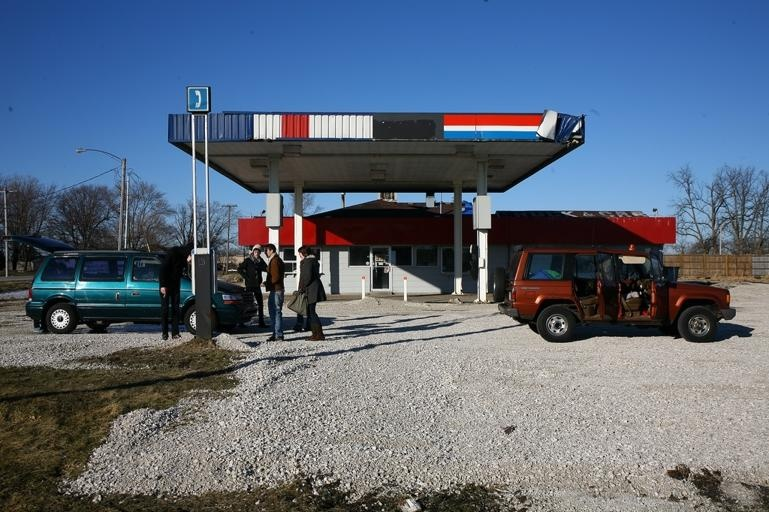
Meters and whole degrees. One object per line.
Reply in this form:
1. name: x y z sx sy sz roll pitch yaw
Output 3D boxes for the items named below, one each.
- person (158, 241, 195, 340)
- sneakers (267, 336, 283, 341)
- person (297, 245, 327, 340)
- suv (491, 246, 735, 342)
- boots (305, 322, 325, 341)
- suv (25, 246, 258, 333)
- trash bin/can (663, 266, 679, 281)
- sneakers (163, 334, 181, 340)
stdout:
1. person: -4.608 0.749 12.821 0.692 2.066 1.193 -4 12 -20
2. sneakers: -2.422 1.834 12.832 0.335 0.158 0.126 3 -2 -4
3. person: -1.654 0.874 13.169 0.533 2.227 1.290 -2 11 -8
4. suv: 5.014 0.769 13.613 3.780 1.805 2.437 -1 1 1
5. boots: -1.557 1.676 12.926 0.377 0.373 0.329 2 -2 -12
6. suv: -5.962 0.857 14.287 4.602 1.936 2.300 -2 -3 2
7. trash bin/can: 6.397 0.369 12.978 0.329 0.268 0.327 2 4 28
8. sneakers: -4.633 1.762 12.541 0.375 0.172 0.131 -2 3 3
